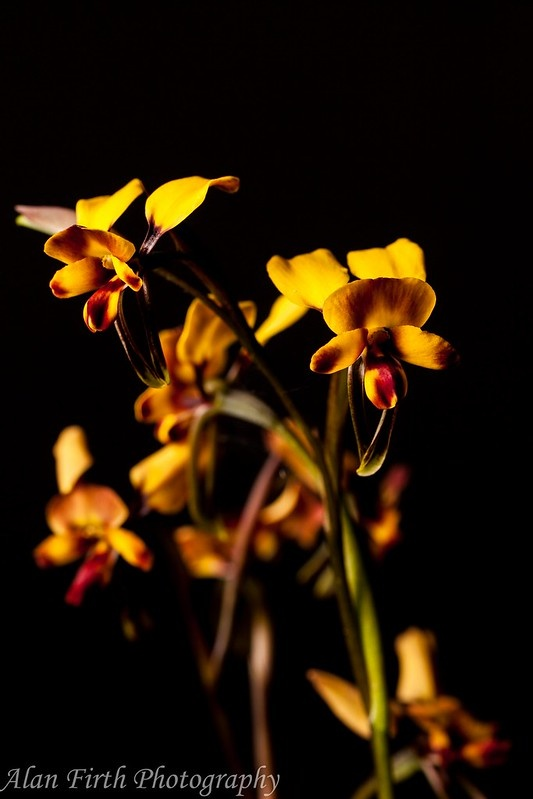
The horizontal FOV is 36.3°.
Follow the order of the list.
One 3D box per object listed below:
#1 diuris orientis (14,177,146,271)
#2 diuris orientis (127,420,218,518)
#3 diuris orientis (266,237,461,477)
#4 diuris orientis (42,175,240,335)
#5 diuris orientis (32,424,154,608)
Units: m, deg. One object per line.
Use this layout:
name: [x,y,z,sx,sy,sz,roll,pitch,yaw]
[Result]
diuris orientis: [-0.113,-0.094,0.491,0.074,0.029,0.072,-35,19,-18]
diuris orientis: [-0.059,0.049,0.548,0.020,0.047,0.073,-15,45,46]
diuris orientis: [0.056,-0.020,0.443,0.092,0.123,0.077,-11,16,-26]
diuris orientis: [-0.071,-0.086,0.438,0.111,0.044,0.105,8,44,29]
diuris orientis: [-0.114,0.072,0.513,0.069,0.030,0.111,-10,81,4]
